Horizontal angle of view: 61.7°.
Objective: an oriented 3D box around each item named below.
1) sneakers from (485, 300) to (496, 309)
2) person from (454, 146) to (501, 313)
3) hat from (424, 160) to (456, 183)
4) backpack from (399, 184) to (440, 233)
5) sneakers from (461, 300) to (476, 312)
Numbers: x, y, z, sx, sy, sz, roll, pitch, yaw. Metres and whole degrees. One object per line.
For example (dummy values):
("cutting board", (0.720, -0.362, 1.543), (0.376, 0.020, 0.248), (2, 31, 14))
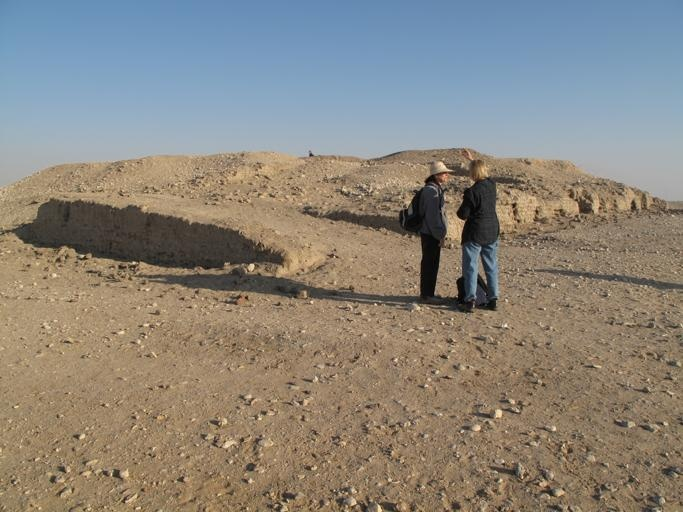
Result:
("sneakers", (1.864, 0.609, 7.094), (0.104, 0.085, 0.123), (3, -5, -26))
("person", (1.670, -0.258, 7.064), (0.578, 1.841, 0.446), (1, 11, -5))
("hat", (1.231, -1.086, 7.341), (0.250, 0.241, 0.385), (3, 9, 6))
("backpack", (1.038, -0.608, 7.506), (0.709, 0.506, 0.485), (0, 8, 8))
("sneakers", (1.561, 0.605, 7.080), (0.122, 0.166, 0.203), (6, 22, 14))
